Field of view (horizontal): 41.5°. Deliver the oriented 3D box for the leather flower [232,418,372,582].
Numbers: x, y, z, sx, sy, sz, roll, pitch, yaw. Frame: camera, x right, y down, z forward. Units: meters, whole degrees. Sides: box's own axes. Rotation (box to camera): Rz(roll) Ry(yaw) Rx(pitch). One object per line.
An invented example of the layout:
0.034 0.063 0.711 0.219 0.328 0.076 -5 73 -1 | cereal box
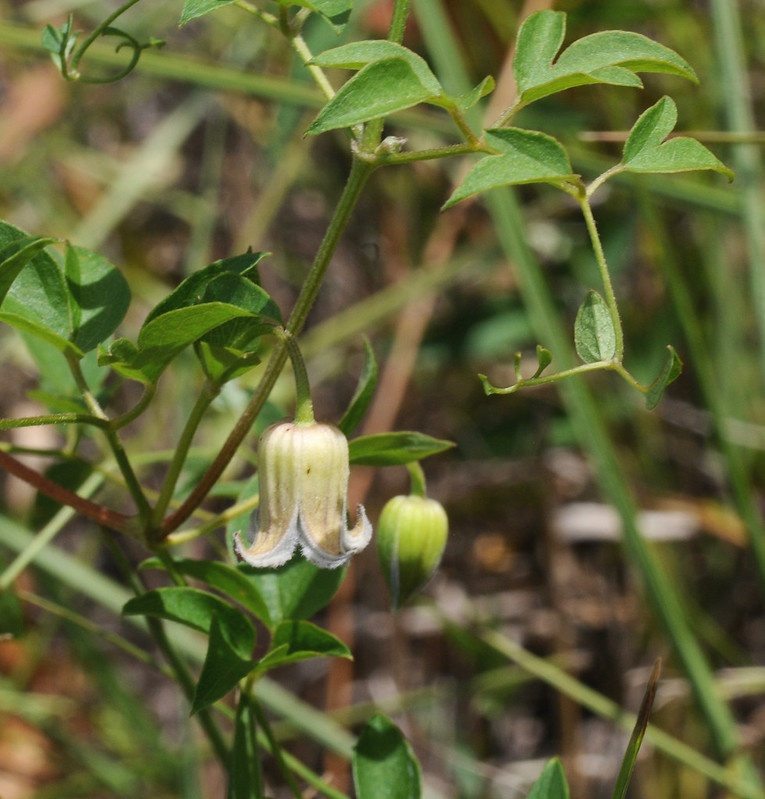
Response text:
-0.131 0.115 1.282 0.236 0.160 0.175 4 3 -29 | leather flower
